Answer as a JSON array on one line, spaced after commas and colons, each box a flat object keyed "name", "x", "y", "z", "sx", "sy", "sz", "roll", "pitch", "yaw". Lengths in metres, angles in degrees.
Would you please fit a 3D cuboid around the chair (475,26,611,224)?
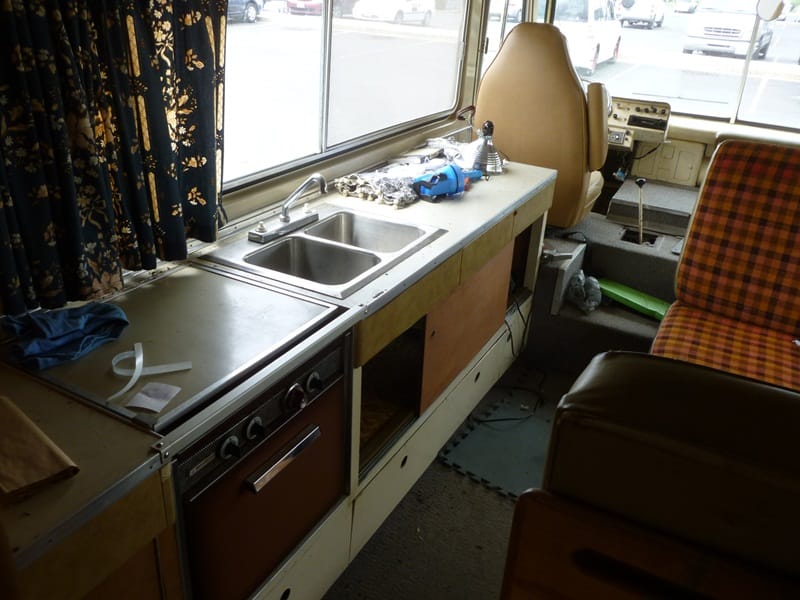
[{"name": "chair", "x": 0.922, "y": -1.094, "z": 3.711, "sx": 0.778, "sy": 1.083, "sz": 0.913, "roll": 15, "pitch": 34, "yaw": 23}]
